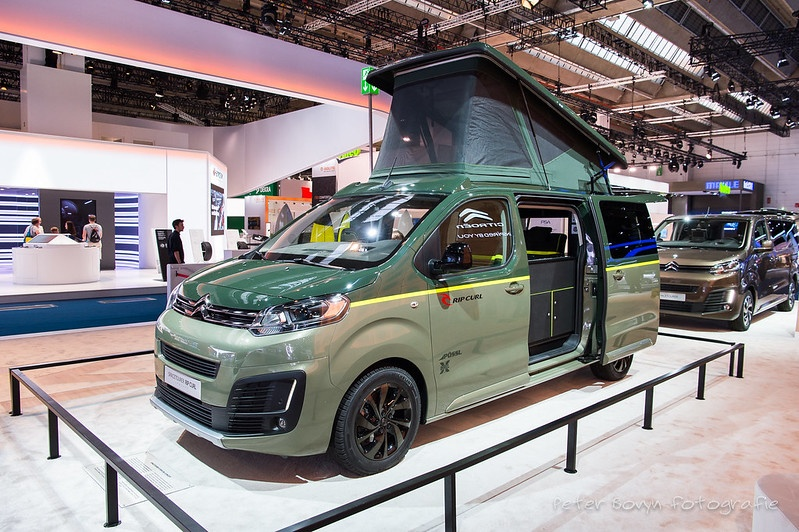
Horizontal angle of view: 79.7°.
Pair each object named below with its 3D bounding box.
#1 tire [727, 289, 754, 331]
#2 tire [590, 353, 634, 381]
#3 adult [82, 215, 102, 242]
[{"bbox_3d":[6.279,0.788,8.819,0.243,0.654,0.700,1,-30,42],"label":"tire"},{"bbox_3d":[2.700,1.299,6.109,0.463,0.388,0.178,-20,18,-30],"label":"tire"},{"bbox_3d":[-9.107,-1.120,14.054,0.405,0.760,0.749,-7,8,-37],"label":"adult"}]
